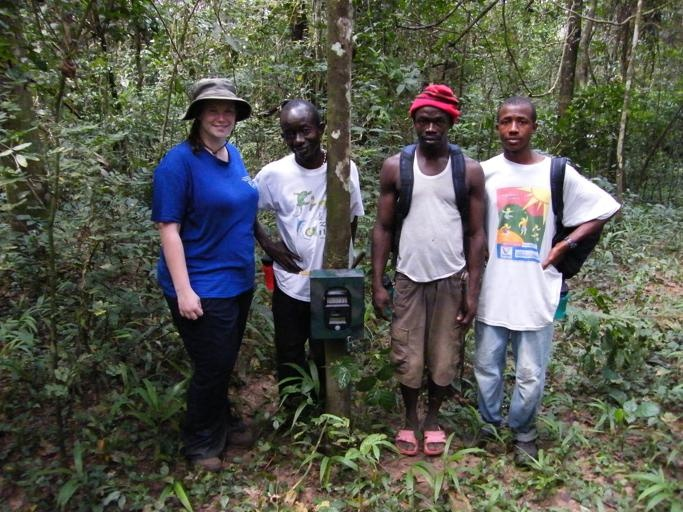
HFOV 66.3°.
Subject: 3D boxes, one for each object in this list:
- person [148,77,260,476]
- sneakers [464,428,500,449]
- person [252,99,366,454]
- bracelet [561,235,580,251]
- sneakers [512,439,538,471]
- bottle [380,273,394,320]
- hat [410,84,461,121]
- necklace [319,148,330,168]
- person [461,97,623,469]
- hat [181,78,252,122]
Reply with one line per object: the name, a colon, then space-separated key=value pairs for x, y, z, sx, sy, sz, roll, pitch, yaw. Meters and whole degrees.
person: x=-0.983 y=0.144 z=3.725 sx=0.544 sy=2.688 sz=0.819 roll=7 pitch=20 yaw=19
sneakers: x=1.093 y=1.409 z=4.035 sx=0.156 sy=0.209 sz=0.062 roll=8 pitch=28 yaw=12
person: x=-0.247 y=0.168 z=4.178 sx=0.997 sy=2.589 sz=0.688 roll=-2 pitch=22 yaw=-2
bracelet: x=1.655 y=-0.095 z=3.773 sx=0.067 sy=0.095 sz=0.098 roll=-28 pitch=4 yaw=6
sneakers: x=1.362 y=1.472 z=3.880 sx=0.117 sy=0.213 sz=0.102 roll=4 pitch=-25 yaw=-9
bottle: x=0.366 y=0.306 z=4.038 sx=0.104 sy=0.256 sz=0.203 roll=1 pitch=-4 yaw=6
hat: x=0.689 y=-1.093 z=3.767 sx=0.249 sy=0.189 sz=0.296 roll=2 pitch=11 yaw=2
necklace: x=-0.134 y=-0.745 z=3.960 sx=0.045 sy=0.138 sz=0.108 roll=4 pitch=7 yaw=-3
person: x=1.350 y=0.300 z=3.904 sx=0.813 sy=2.242 sz=0.802 roll=11 pitch=21 yaw=30
hat: x=-0.884 y=-1.093 z=3.673 sx=0.499 sy=0.294 sz=0.352 roll=-10 pitch=20 yaw=-30
